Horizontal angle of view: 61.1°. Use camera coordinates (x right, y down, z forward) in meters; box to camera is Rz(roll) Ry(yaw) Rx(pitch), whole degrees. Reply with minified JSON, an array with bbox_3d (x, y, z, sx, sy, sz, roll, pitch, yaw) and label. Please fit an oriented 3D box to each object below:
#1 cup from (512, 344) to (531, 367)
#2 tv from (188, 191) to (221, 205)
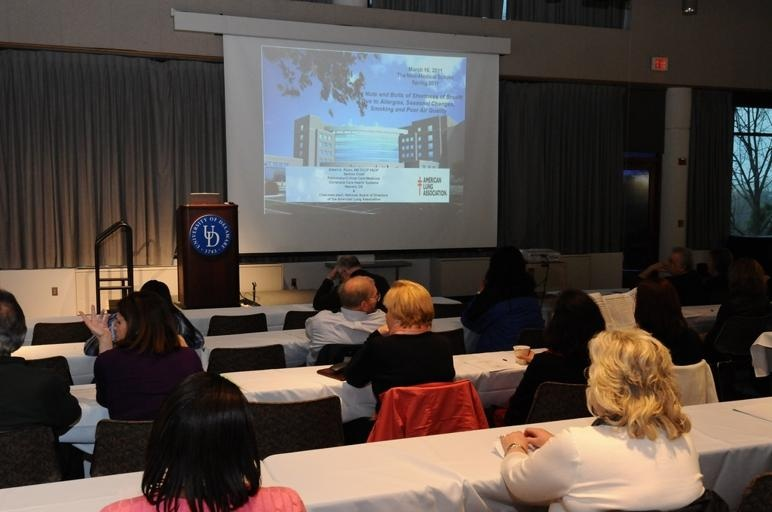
[{"bbox_3d":[0.964,0.693,4.582,0.096,0.099,0.123,0,-3,11],"label":"cup"},{"bbox_3d":[-1.930,-0.606,7.008,0.294,0.119,0.133,-6,5,-29],"label":"tv"}]
